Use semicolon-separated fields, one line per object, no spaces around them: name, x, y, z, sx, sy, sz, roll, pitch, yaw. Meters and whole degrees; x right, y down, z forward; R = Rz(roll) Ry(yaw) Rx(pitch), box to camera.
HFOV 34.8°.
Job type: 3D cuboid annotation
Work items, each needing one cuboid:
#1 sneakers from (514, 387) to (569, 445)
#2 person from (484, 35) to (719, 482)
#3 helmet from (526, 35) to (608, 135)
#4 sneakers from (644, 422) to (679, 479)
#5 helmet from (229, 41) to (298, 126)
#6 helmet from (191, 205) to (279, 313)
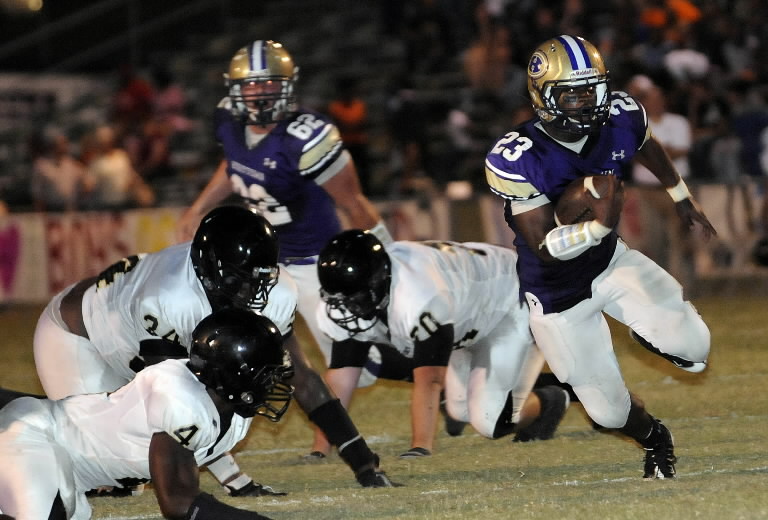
sneakers;1.029;0.983;7.797;0.284;0.145;0.365;-47;-2;-42
person;1.282;-0.060;7.375;1.139;2.613;0.900;-10;8;-3
helmet;1.087;-1.052;7.403;0.465;0.497;0.598;-17;45;-6
sneakers;1.612;1.108;7.225;0.196;0.283;0.314;-7;8;14
helmet;-0.804;-1.158;8.023;0.490;0.436;0.553;-2;13;1
helmet;-0.843;0.017;6.908;0.483;0.469;0.379;42;32;23
